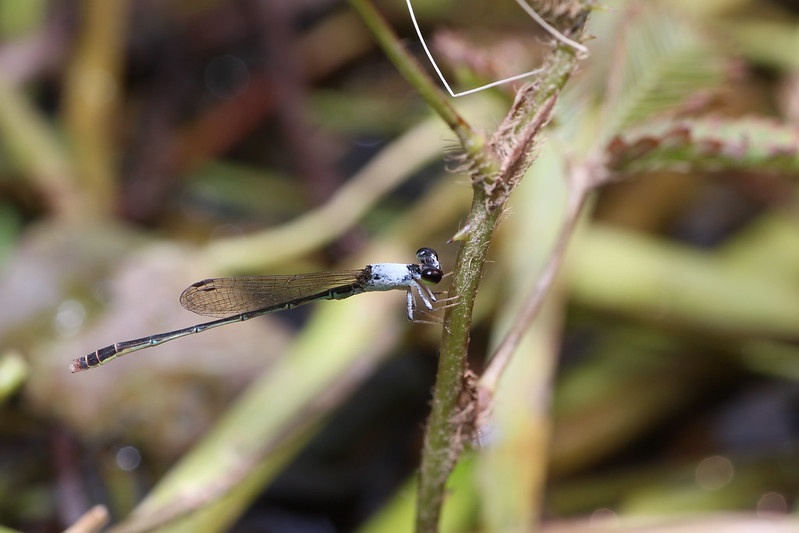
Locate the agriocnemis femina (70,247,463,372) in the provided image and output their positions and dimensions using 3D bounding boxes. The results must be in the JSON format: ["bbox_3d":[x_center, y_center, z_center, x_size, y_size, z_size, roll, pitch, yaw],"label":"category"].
[{"bbox_3d":[-0.512,0.163,3.084,1.457,0.302,0.289,-7,-89,11],"label":"agriocnemis femina"}]
